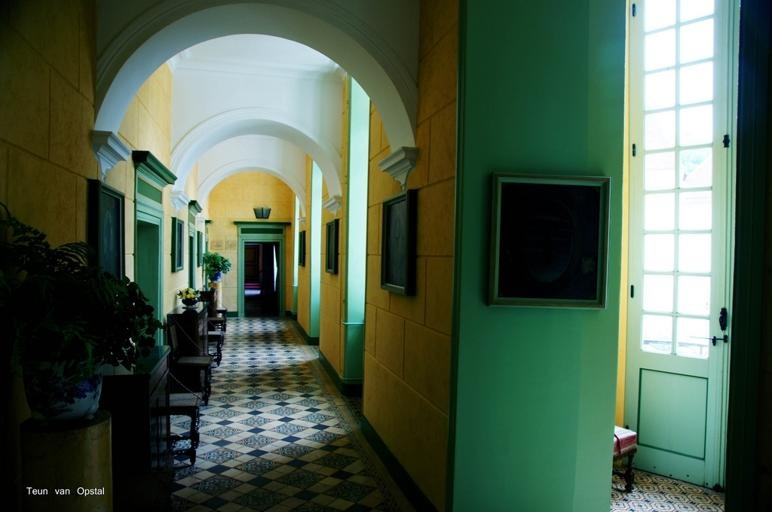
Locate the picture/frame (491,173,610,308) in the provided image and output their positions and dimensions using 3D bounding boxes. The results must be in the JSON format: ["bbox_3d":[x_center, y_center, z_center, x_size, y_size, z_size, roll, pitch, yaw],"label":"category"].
[{"bbox_3d":[1.212,-0.150,4.404,0.922,1.069,0.110,1,0,-3],"label":"picture/frame"}]

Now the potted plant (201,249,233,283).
[{"bbox_3d":[-4.283,0.276,14.670,0.815,0.860,0.839,1,0,37],"label":"potted plant"}]
